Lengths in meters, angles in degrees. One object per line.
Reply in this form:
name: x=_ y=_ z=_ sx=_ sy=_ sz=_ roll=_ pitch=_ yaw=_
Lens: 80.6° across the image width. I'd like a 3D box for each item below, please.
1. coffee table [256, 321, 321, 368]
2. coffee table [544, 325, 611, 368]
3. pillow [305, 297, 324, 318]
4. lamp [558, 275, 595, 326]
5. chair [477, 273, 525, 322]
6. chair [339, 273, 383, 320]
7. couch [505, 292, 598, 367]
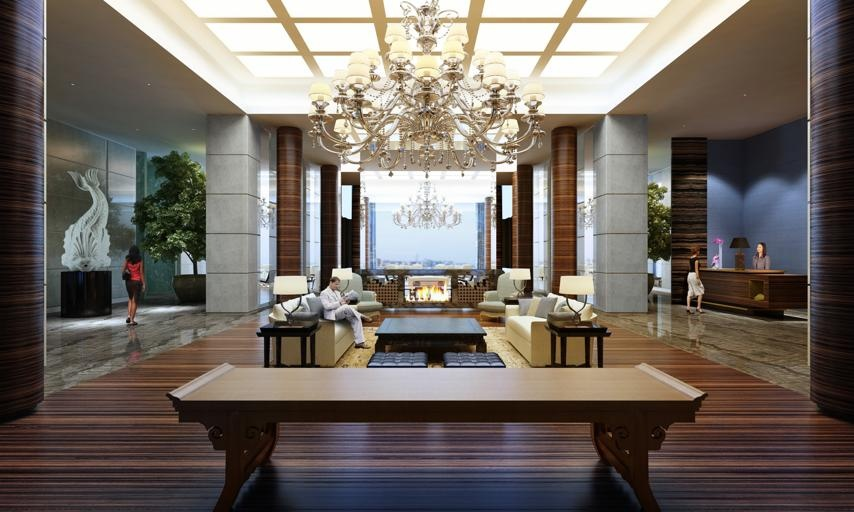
coffee table: x=-2.288 y=1.439 z=8.487 sx=0.958 sy=0.794 sz=0.843 roll=0 pitch=0 yaw=-2
coffee table: x=2.531 y=1.451 z=8.338 sx=0.897 sy=0.670 sz=0.879 roll=5 pitch=-5 yaw=-44
pillow: x=-2.054 y=0.943 z=9.119 sx=0.170 sy=0.398 sz=0.356 roll=-25 pitch=-3 yaw=23
lamp: x=2.632 y=0.645 z=8.926 sx=0.513 sy=0.806 sz=1.582 roll=5 pitch=14 yaw=16
chair: x=1.915 y=0.961 z=12.474 sx=1.243 sy=1.202 sz=1.143 roll=8 pitch=-8 yaw=-37
chair: x=-1.664 y=0.999 z=12.294 sx=1.061 sy=1.198 sz=1.247 roll=2 pitch=-4 yaw=-43
couch: x=2.197 y=0.984 z=9.139 sx=1.139 sy=0.996 sz=2.003 roll=1 pitch=-1 yaw=-1
